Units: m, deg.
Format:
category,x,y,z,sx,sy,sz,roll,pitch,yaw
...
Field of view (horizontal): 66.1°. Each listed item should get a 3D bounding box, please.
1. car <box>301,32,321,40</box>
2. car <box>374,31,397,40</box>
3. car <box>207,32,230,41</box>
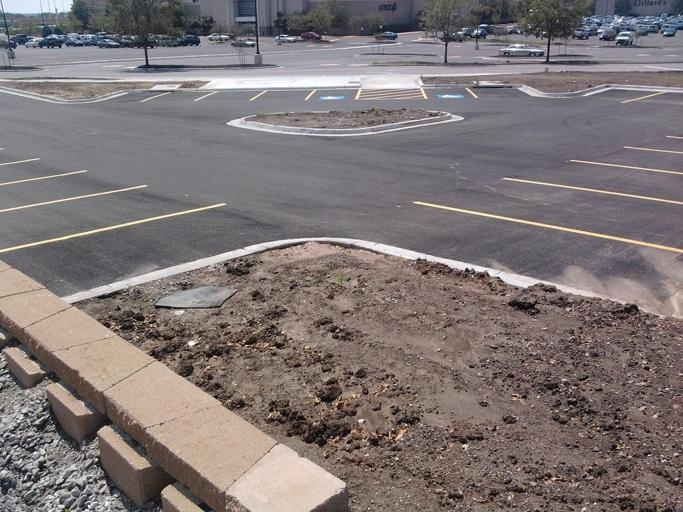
category,x,y,z,sx,sy,sz,roll,pitch,yaw
car,-5.899,-40.296,96.191,3.305,1.031,1.746,5,35,10
car,8.055,-39.591,94.315,3.341,1.497,2.599,6,22,17
car,-22.728,-40.570,97.092,3.293,1.575,7.021,-3,20,-7
